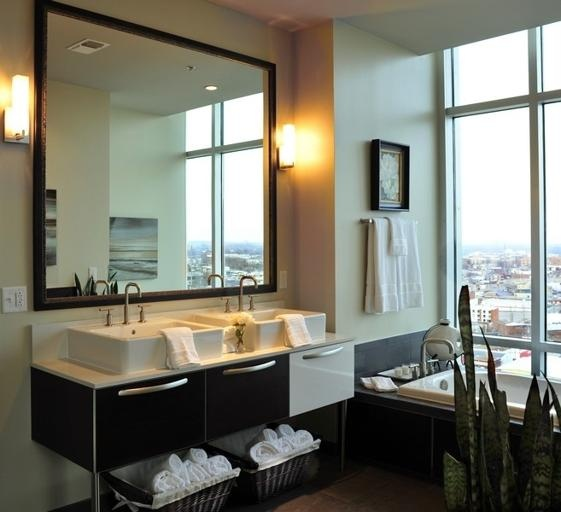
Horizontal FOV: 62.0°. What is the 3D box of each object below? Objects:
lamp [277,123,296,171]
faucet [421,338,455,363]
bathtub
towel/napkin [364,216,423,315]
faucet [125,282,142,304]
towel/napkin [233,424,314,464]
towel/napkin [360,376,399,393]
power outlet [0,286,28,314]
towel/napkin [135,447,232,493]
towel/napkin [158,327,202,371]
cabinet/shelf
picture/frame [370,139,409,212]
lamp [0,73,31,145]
[{"bbox_3d":[0.041,-0.770,3.301,0.127,0.308,0.100,-4,3,-34],"label":"lamp"},{"bbox_3d":[1.158,0.709,3.459,0.220,0.221,0.424,-2,3,22],"label":"faucet"},{"bbox_3d":[1.224,0.893,3.053,0.683,0.280,0.642,1,0,28],"label":"bathtub"},{"bbox_3d":[0.810,0.071,3.439,0.674,0.914,0.209,-1,1,-41],"label":"towel/napkin"},{"bbox_3d":[-0.790,0.200,2.494,0.088,0.118,0.209,-3,2,-18],"label":"faucet"},{"bbox_3d":[-0.017,1.084,2.680,0.245,0.101,0.194,-5,4,-43],"label":"towel/napkin"},{"bbox_3d":[0.678,0.878,3.269,0.243,0.061,0.294,-2,2,7],"label":"towel/napkin"},{"bbox_3d":[-1.252,0.204,2.182,0.016,0.169,0.120,0,0,38],"label":"power outlet"},{"bbox_3d":[-0.476,0.976,2.319,0.240,0.133,0.327,2,3,45],"label":"towel/napkin"},{"bbox_3d":[-0.459,0.426,2.185,0.184,0.168,0.138,-3,3,-24],"label":"towel/napkin"},{"bbox_3d":[-0.367,0.757,2.423,1.563,0.581,0.493,-4,3,-34],"label":"cabinet/shelf"},{"bbox_3d":[0.806,-0.609,3.518,0.076,0.649,0.518,-2,-3,38],"label":"picture/frame"},{"bbox_3d":[-1.223,-0.684,2.161,0.123,0.227,0.102,-4,3,-31],"label":"lamp"}]
